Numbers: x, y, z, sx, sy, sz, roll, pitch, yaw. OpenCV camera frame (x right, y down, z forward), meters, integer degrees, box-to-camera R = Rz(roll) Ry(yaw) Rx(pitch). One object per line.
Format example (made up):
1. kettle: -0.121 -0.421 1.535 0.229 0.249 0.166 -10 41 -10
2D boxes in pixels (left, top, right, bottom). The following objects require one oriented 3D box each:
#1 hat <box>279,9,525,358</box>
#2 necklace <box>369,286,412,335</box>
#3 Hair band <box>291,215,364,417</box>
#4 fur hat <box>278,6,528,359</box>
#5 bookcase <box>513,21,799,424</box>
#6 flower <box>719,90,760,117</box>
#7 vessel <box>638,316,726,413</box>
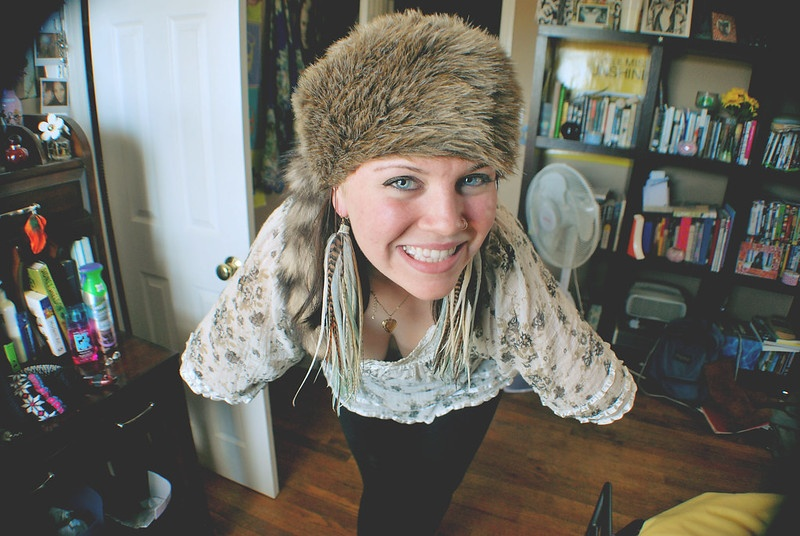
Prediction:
1. hat: -0.028 -0.424 2.592 0.788 0.990 0.972 6 -5 -29
2. necklace: -0.043 0.167 2.600 0.219 0.230 0.026 0 -7 -9
3. Hair band: -0.217 0.193 2.513 0.176 0.748 0.198 2 2 20
4. fur hat: -0.022 -0.452 2.582 0.784 0.982 0.972 5 -4 -30
5. bookcase: 1.596 -0.308 3.683 2.134 1.991 0.625 14 14 4
6. flower: 2.077 -0.972 3.796 0.118 0.179 0.179 2 34 -41
7. vessel: 1.687 0.559 3.980 0.396 0.544 0.525 26 -3 -5
